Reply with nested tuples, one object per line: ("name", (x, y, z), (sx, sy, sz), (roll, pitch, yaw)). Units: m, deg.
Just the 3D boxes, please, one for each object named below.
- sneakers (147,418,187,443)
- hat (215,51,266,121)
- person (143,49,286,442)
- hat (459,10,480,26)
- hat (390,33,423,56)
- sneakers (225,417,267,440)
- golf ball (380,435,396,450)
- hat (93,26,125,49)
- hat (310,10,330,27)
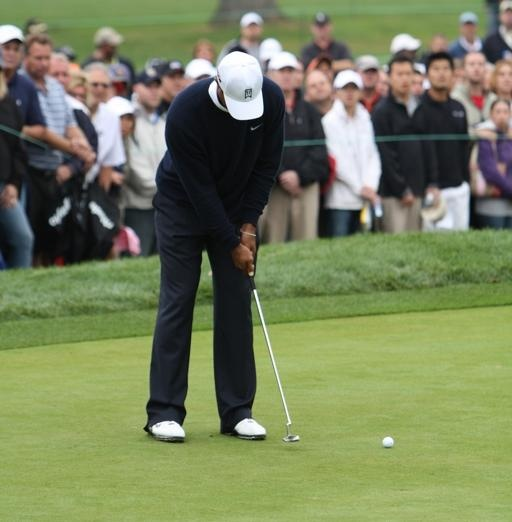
("sneakers", (-0.399, 0.757, 5.615), (0.162, 0.066, 0.078), (9, 35, 5))
("hat", (-0.076, -0.773, 5.517), (0.199, 0.291, 0.169), (2, 11, 18))
("person", (-0.194, -0.075, 5.754), (0.658, 1.746, 0.622), (-1, 10, 0))
("hat", (1.661, -1.922, 9.891), (0.142, 0.091, 0.124), (1, 11, 10))
("hat", (1.129, -1.629, 9.576), (0.210, 0.133, 0.151), (-7, 38, 14))
("sneakers", (-0.047, 0.765, 5.711), (0.159, 0.065, 0.069), (-9, -9, 42))
("golf ball", (0.570, 0.788, 5.458), (0.044, 0.038, 0.047), (6, -29, 4))
("hat", (-1.169, -1.775, 9.910), (0.173, 0.111, 0.128), (-4, 45, -1))
("hat", (0.589, -2.254, 11.623), (0.119, 0.101, 0.128), (-2, 3, 6))
